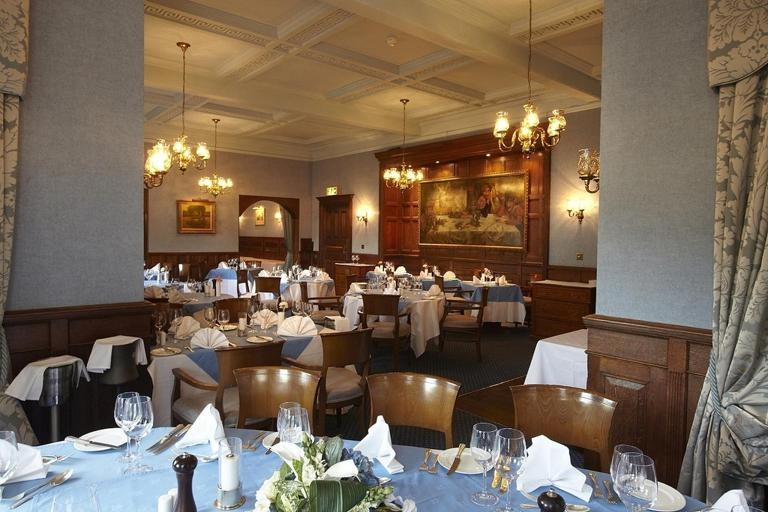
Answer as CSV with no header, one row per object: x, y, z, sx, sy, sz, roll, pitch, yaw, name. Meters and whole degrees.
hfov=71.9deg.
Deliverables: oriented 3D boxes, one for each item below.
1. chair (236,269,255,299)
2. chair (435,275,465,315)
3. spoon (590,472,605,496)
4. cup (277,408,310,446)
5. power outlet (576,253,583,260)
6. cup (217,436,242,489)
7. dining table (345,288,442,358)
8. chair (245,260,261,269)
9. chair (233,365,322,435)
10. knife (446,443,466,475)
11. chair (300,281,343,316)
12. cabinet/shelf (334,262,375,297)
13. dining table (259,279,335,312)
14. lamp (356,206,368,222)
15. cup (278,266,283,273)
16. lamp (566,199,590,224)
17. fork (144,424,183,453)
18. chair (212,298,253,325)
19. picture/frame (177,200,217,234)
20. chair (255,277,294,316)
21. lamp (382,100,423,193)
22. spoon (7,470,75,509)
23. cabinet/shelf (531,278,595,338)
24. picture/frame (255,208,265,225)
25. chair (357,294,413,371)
-2.454,0.440,9.437,0.265,0.407,0.973,-1,2,-9,chair
1.108,0.587,8.925,0.443,0.673,0.458,-1,1,1,chair
1.091,1.170,2.709,0.049,0.024,0.209,1,4,11,spoon
-0.460,0.857,2.740,0.177,0.178,0.177,2,-6,0,cup
3.466,0.000,9.355,0.117,0.115,0.041,-1,0,22,power outlet
-0.774,1.000,2.636,0.102,0.227,0.278,-1,2,-18,cup
0.022,0.936,7.029,0.777,1.021,0.831,5,8,44,dining table
-2.955,0.186,11.957,0.212,0.219,0.149,1,-3,13,chair
-0.649,0.929,3.546,0.471,0.627,0.432,1,-11,-5,chair
0.392,1.091,2.847,0.045,0.028,0.276,9,6,16,knife
-0.997,0.709,8.302,0.541,0.785,0.539,-1,5,3,chair
-0.576,0.450,10.537,0.660,0.701,0.366,10,7,37,cabinet/shelf
-1.317,0.630,9.014,0.740,0.423,0.776,7,-8,-42,dining table
-0.539,-1.026,13.275,0.125,0.417,0.382,-2,3,-34,lamp
-2.183,0.279,11.152,0.043,0.106,0.146,12,-10,-16,cup
3.398,-0.787,9.385,0.109,0.444,0.402,-2,3,-30,lamp
-1.200,1.014,2.958,0.055,0.031,0.217,8,12,13,fork
-1.641,0.556,5.808,0.374,0.452,0.322,2,-6,-27,chair
-4.467,-0.942,12.501,0.800,0.718,0.086,0,-2,-39,picture/frame
-1.529,0.551,7.329,0.465,0.820,0.557,1,2,3,chair
0.432,-2.190,11.081,0.836,1.579,2.426,0,2,3,lamp
-1.647,1.133,2.628,0.063,0.055,0.409,18,13,16,spoon
2.731,0.855,8.134,0.227,0.903,1.019,-2,3,-41,cabinet/shelf
-4.977,-1.633,21.346,0.643,0.826,0.083,-2,-5,44,picture/frame
0.080,0.912,6.976,0.845,1.234,0.879,2,6,14,chair
